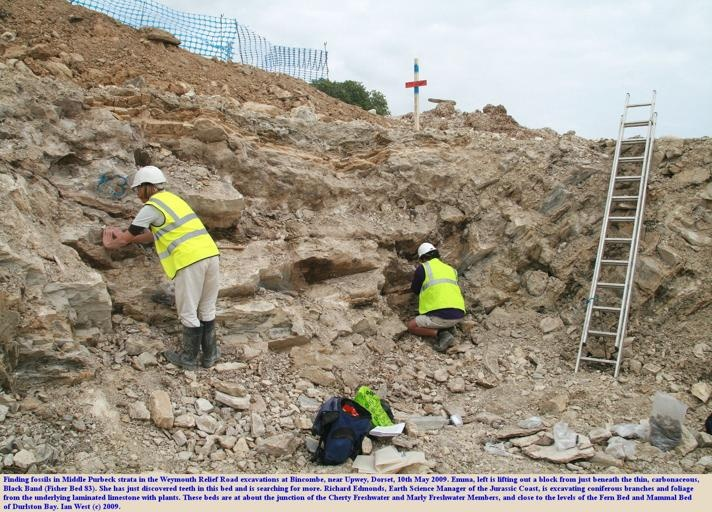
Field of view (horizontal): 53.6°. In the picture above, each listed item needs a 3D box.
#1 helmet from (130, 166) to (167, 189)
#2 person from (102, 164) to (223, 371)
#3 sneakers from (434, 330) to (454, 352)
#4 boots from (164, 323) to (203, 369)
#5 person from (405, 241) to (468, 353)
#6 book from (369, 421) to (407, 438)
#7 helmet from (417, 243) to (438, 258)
[{"bbox_3d":[-2.235,-0.860,7.693,0.414,0.173,0.259,1,13,-15],"label":"helmet"},{"bbox_3d":[-1.981,0.256,7.565,1.066,1.901,0.370,2,2,-8],"label":"person"},{"bbox_3d":[1.137,1.104,9.168,0.271,0.295,0.185,2,2,-8],"label":"sneakers"},{"bbox_3d":[-1.845,0.980,7.692,0.518,0.453,0.304,10,11,41],"label":"boots"},{"bbox_3d":[1.029,0.628,9.221,0.721,1.183,0.340,3,2,8],"label":"person"},{"bbox_3d":[0.322,1.827,7.380,0.319,0.136,0.309,2,2,12],"label":"book"},{"bbox_3d":[0.936,-0.094,9.494,0.271,0.129,0.185,-24,4,8],"label":"helmet"}]
